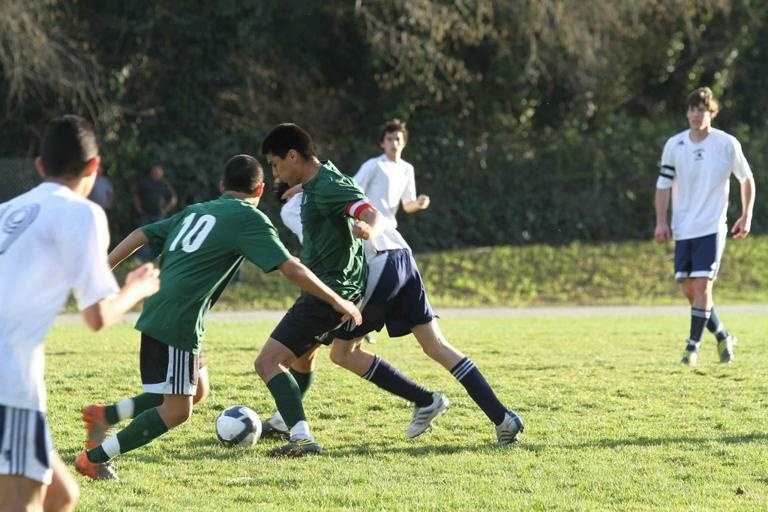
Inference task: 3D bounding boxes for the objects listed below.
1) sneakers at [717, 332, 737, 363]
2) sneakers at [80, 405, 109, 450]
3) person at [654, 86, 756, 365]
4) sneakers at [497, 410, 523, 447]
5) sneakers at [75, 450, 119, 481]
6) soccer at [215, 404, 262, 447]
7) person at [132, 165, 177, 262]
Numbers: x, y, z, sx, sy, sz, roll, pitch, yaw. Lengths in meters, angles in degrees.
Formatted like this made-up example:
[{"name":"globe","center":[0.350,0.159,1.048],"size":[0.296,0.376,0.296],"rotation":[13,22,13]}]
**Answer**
[{"name":"sneakers","center":[4.699,1.301,15.403],"size":[0.164,0.482,0.222],"rotation":[-11,44,-12]},{"name":"sneakers","center":[-3.237,1.886,12.658],"size":[0.206,0.568,0.240],"rotation":[3,10,-19]},{"name":"person","center":[4.306,-0.387,15.280],"size":[1.221,3.670,0.706],"rotation":[2,12,13]},{"name":"sneakers","center":[1.436,1.989,12.932],"size":[0.223,0.507,0.184],"rotation":[18,50,3]},{"name":"sneakers","center":[-3.146,2.311,12.372],"size":[0.383,0.176,0.294],"rotation":[15,16,0]},{"name":"soccer","center":[-1.651,1.947,13.029],"size":[0.439,0.465,0.455],"rotation":[15,22,17]},{"name":"person","center":[-4.559,-0.780,22.768],"size":[0.830,2.269,0.518],"rotation":[-1,27,-6]}]
